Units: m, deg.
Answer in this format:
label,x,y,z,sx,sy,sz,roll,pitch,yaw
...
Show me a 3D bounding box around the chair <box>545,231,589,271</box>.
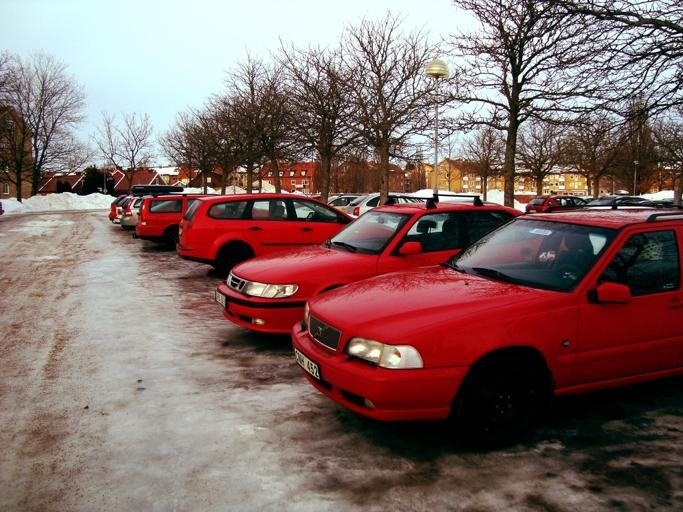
label,x,y,z,sx,sy,sz,roll,pitch,yaw
chair,2.082,-0.033,4.215,0.445,0.280,0.476,3,-13,26
